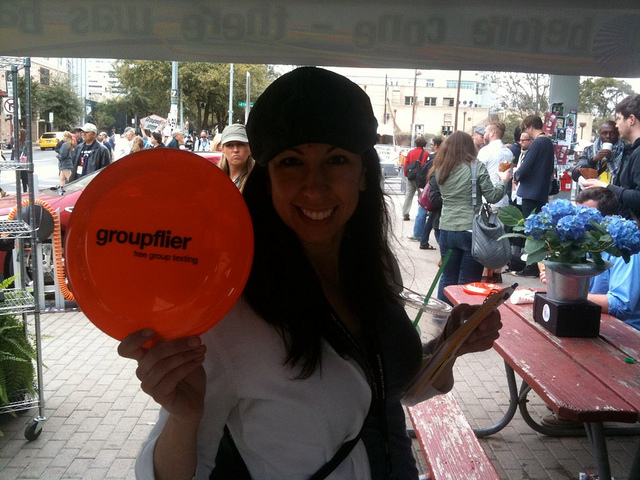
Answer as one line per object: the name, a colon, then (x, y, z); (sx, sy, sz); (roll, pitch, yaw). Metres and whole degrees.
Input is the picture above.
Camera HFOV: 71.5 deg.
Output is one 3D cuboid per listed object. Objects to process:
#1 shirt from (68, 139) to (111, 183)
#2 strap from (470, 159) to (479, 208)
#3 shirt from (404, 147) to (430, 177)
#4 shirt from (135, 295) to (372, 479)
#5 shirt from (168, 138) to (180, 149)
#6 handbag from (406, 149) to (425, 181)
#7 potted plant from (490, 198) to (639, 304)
shirt: (-5.507, -1.726, 10.729); (1.209, 1.389, 0.692); (7, 2, 24)
strap: (2.125, -0.794, 6.151); (0.103, 0.619, 0.248); (2, 12, 8)
shirt: (2.602, -2.106, 12.034); (0.396, 0.817, 0.982); (-3, 13, -17)
shirt: (-0.100, 0.457, 1.342); (0.531, 0.543, 0.189); (0, 12, -2)
shirt: (-5.049, -3.357, 15.254); (0.320, 0.266, 2.018); (-3, 14, -18)
handbag: (2.474, -2.061, 12.059); (0.542, 0.548, 0.400); (24, -16, -2)
potted plant: (1.747, 0.039, 3.233); (0.812, 0.633, 0.855); (4, -6, -40)
